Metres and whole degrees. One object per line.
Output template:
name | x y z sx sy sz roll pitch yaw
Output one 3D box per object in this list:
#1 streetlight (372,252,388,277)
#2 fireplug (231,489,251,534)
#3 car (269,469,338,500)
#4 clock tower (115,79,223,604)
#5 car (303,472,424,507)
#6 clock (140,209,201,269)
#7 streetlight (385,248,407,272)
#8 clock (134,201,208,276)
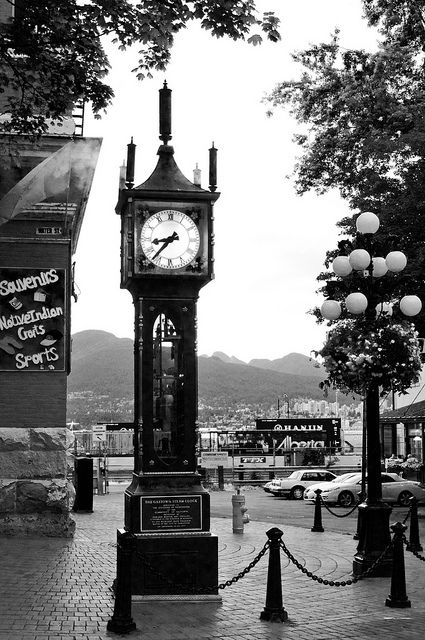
streetlight | 2.403 -0.814 17.566 0.210 0.362 0.660 0 -4 9
fireplug | 0.537 3.576 23.023 0.341 0.813 0.341 1 -3 -17
car | 3.007 5.256 40.203 2.201 0.811 1.019 -4 1 -25
clock tower | -0.543 0.154 14.885 1.240 6.317 1.311 1 -4 -3
car | 3.906 4.524 33.061 2.162 0.952 3.067 4 -6 -40
clock | -0.556 -0.991 15.126 0.679 0.741 0.041 1 -12 -16
streetlight | 2.622 -0.865 17.247 0.277 0.417 0.283 5 -10 -25
clock | -0.555 -0.985 15.122 0.824 0.908 0.096 3 -10 -19
